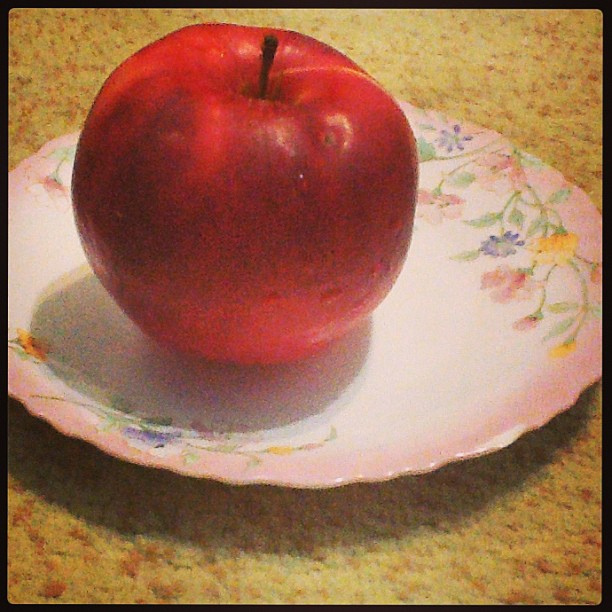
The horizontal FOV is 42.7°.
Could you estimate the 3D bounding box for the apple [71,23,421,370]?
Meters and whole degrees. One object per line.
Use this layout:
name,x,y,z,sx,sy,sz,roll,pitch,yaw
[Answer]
apple,-0.100,-0.165,1.226,0.451,0.444,0.438,7,33,-5
